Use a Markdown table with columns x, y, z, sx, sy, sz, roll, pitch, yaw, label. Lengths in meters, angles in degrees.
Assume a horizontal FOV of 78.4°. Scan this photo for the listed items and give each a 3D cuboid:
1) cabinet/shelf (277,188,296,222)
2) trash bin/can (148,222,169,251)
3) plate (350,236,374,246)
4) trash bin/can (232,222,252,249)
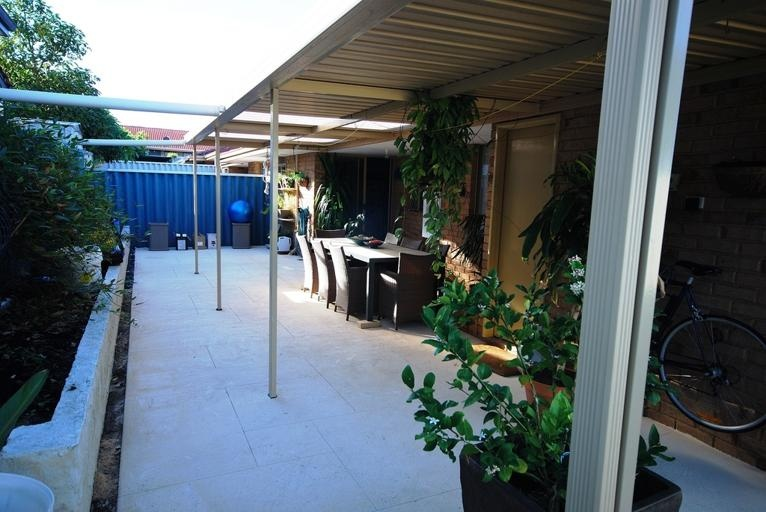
| x | y | z | sx | sy | sz | roll | pitch | yaw | label |
| --- | --- | --- | --- | --- | --- | --- | --- | --- | --- |
| -2.709 | -1.494 | 13.059 | 0.297 | 0.845 | 1.306 | -5 | 15 | -26 | cabinet/shelf |
| -5.882 | -0.516 | 12.246 | 0.478 | 0.706 | 0.273 | -3 | 14 | -20 | trash bin/can |
| -0.342 | -0.258 | 8.064 | 0.229 | 0.084 | 0.367 | -1 | 11 | -18 | plate |
| -4.066 | -0.578 | 13.103 | 0.598 | 0.869 | 0.937 | 0 | 4 | -5 | trash bin/can |
